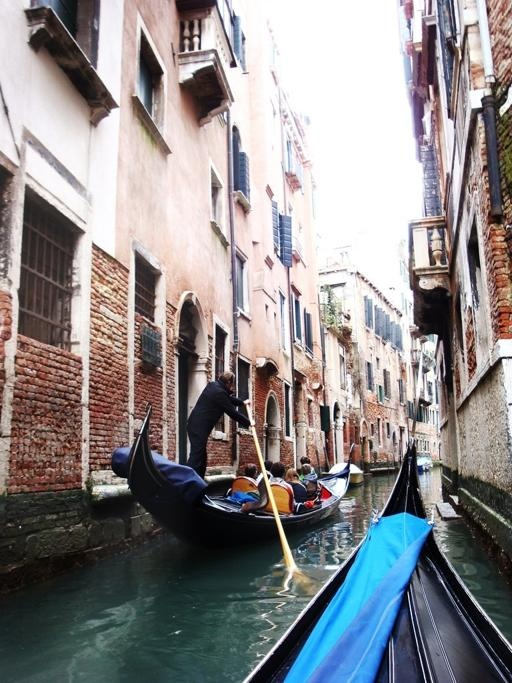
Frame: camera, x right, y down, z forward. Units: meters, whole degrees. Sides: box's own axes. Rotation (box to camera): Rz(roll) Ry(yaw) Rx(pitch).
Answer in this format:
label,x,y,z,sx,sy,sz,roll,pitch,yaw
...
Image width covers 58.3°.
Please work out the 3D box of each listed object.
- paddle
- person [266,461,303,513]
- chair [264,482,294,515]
label,x,y,z,sx,sy,sz,roll,pitch,yaw
paddle,0.381,2.590,8.911,0.291,4.647,0.315,24,-53,-36
person,0.363,2.308,7.142,0.438,0.830,0.703,1,-8,21
chair,0.377,2.333,6.810,0.391,0.577,0.460,2,7,14
